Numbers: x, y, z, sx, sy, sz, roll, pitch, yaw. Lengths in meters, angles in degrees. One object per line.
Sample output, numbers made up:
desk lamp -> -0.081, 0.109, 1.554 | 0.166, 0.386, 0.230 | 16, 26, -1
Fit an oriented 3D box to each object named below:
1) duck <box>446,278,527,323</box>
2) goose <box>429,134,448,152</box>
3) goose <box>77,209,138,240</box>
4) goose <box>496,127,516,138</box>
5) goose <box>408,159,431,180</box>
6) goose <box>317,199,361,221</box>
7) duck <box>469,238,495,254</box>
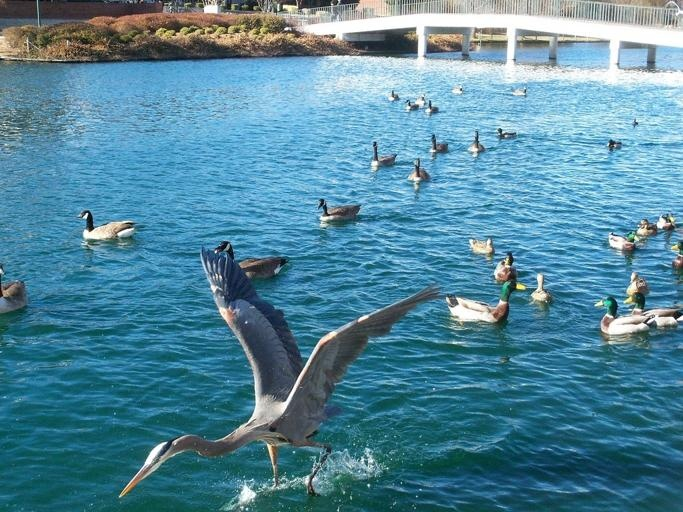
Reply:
duck -> 4.677, 1.531, 27.821 | 2.115, 1.377, 0.738 | 2, 14, 9
goose -> 5.806, -6.522, 48.708 | 0.943, 1.022, 1.277 | 1, 12, 6
goose -> -9.645, -1.232, 33.939 | 2.320, 1.172, 1.323 | 5, 14, 22
goose -> 10.318, -7.646, 52.112 | 1.391, 0.802, 0.630 | -5, 32, 6
goose -> 3.953, -4.345, 42.450 | 0.833, 1.173, 0.955 | 12, 18, 40
goose -> -0.107, -2.013, 36.640 | 1.846, 0.972, 0.951 | -15, 16, -20
duck -> 5.677, -0.385, 32.753 | 0.599, 0.613, 0.948 | -17, 31, -20
